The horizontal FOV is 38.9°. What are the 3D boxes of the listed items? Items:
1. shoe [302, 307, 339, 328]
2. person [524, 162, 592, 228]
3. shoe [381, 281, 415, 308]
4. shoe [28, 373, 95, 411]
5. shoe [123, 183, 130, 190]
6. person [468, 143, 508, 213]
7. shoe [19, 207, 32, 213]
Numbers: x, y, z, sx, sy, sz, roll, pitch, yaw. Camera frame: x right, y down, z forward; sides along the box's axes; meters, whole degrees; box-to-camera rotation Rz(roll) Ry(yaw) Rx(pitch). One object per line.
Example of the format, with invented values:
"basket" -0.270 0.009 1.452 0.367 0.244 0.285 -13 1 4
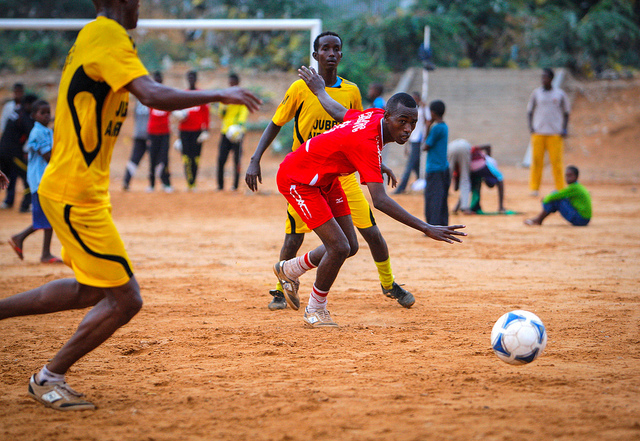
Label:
"shoe" -0.003 1.116 10.357 0.442 0.172 0.170 4 -3 21
"person" 4.023 -0.387 14.899 1.158 1.055 0.498 5 2 38
"shoe" 0.968 0.910 10.993 0.458 0.209 0.226 24 -23 6
"shoe" -2.586 1.718 9.106 0.732 0.266 0.260 14 4 4
"shoe" -3.816 -0.678 17.683 0.033 0.100 0.112 -21 -8 25
"person" 3.086 -0.777 16.495 0.688 1.193 1.173 2 7 11
"shoe" -5.238 -0.216 16.039 0.193 0.100 0.239 -1 6 -14
